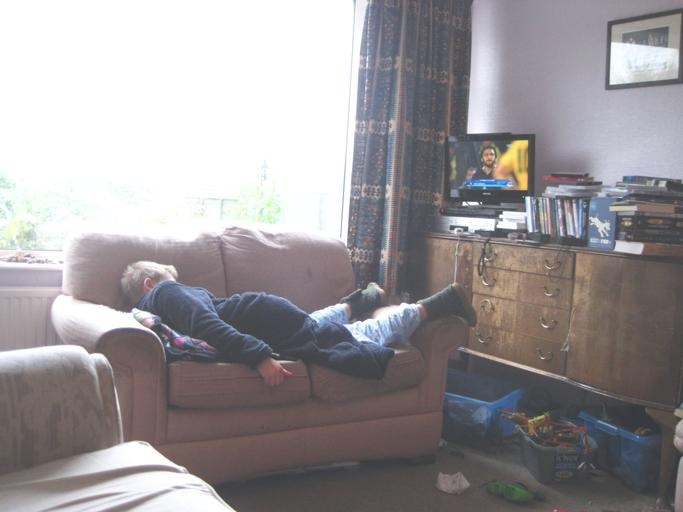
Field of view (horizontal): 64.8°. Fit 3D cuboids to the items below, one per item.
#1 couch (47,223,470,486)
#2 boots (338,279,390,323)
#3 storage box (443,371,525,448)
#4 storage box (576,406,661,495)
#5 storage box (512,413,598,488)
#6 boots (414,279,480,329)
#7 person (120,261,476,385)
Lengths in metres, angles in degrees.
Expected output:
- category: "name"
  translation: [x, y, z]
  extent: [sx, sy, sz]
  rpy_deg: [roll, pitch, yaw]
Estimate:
- category: "couch"
  translation: [-0.392, 0.460, 2.430]
  extent: [1.104, 0.709, 0.649]
  rpy_deg: [3, -7, -29]
- category: "boots"
  translation: [0.159, 0.239, 2.958]
  extent: [0.331, 0.146, 0.119]
  rpy_deg: [-26, 20, -37]
- category: "storage box"
  translation: [0.789, 0.908, 3.036]
  extent: [0.418, 0.336, 0.167]
  rpy_deg: [1, -5, 10]
- category: "storage box"
  translation: [1.391, 0.975, 2.726]
  extent: [0.225, 0.167, 0.357]
  rpy_deg: [1, 4, -25]
- category: "storage box"
  translation: [1.043, 0.936, 2.622]
  extent: [0.237, 0.144, 0.351]
  rpy_deg: [1, 2, -1]
- category: "boots"
  translation: [0.536, 0.249, 2.676]
  extent: [0.278, 0.173, 0.106]
  rpy_deg: [-8, 16, 17]
- category: "person"
  translation: [-0.268, 0.335, 2.556]
  extent: [1.184, 0.411, 0.767]
  rpy_deg: [5, -5, -16]
